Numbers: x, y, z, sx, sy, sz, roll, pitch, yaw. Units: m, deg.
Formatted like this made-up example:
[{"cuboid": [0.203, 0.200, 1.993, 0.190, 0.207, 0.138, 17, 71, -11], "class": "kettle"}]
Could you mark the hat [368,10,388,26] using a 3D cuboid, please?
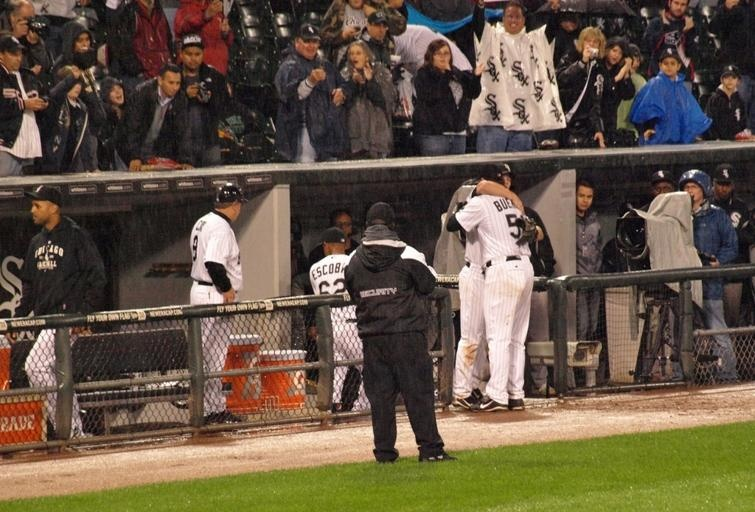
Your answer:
[{"cuboid": [0.011, -3.256, 22.114, 0.319, 0.209, 0.263, -3, -6, -21], "class": "hat"}]

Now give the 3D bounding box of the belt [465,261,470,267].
[{"cuboid": [1.130, 0.118, 19.988, 0.047, 0.055, 0.048, -2, 4, -32], "class": "belt"}]

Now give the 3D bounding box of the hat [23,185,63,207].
[{"cuboid": [-4.026, -0.731, 19.188, 0.379, 0.214, 0.259, 7, 6, -10], "class": "hat"}]

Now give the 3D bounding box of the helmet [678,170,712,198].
[{"cuboid": [4.430, -0.987, 22.277, 0.439, 0.405, 0.317, -3, 8, -25], "class": "helmet"}]

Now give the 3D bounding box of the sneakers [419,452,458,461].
[{"cuboid": [0.656, 2.192, 17.449, 0.408, 0.105, 0.139, -4, -6, -7], "class": "sneakers"}]

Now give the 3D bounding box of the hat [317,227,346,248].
[{"cuboid": [-0.569, -0.238, 20.386, 0.281, 0.212, 0.261, -4, -6, -4], "class": "hat"}]

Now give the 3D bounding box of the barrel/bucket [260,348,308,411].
[{"cuboid": [-1.167, 1.525, 19.729, 0.665, 0.753, 0.671, -4, -5, 0], "class": "barrel/bucket"}]

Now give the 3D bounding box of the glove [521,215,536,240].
[{"cuboid": [1.864, -0.338, 19.847, 0.244, 0.312, 0.161, -3, -5, -17], "class": "glove"}]

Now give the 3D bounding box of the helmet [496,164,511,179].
[{"cuboid": [1.597, -1.055, 20.087, 0.082, 0.163, 0.356, -6, -6, 23], "class": "helmet"}]

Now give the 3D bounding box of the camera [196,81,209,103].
[{"cuboid": [-2.323, -2.158, 21.429, 0.140, 0.255, 0.087, -6, 10, -17], "class": "camera"}]

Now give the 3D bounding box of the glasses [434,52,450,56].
[{"cuboid": [0.871, -2.755, 21.948, 0.167, 0.065, 0.065, -3, -6, -18], "class": "glasses"}]

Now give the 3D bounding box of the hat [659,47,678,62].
[{"cuboid": [4.305, -2.927, 23.572, 0.211, 0.173, 0.319, 1, 5, 8], "class": "hat"}]

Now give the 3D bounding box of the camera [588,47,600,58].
[{"cuboid": [3.112, -2.877, 22.863, 0.103, 0.108, 0.137, -1, 0, -1], "class": "camera"}]

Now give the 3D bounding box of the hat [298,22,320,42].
[{"cuboid": [-0.954, -2.981, 21.659, 0.278, 0.250, 0.188, -4, -5, -9], "class": "hat"}]

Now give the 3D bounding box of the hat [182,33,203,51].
[{"cuboid": [-2.492, -2.845, 21.493, 0.223, 0.159, 0.234, -1, 5, -13], "class": "hat"}]
